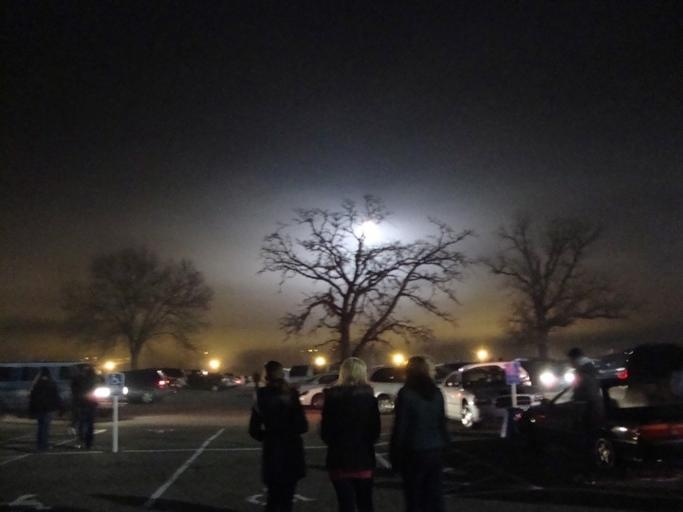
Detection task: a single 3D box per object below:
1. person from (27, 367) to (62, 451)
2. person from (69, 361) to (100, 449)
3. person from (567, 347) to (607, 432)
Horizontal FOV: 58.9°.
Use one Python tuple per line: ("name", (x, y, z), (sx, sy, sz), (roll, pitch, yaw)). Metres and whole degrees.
("person", (-7.273, 3.710, 14.760), (0.652, 1.972, 0.618), (5, -16, -26))
("person", (-6.319, 3.672, 14.809), (0.492, 2.021, 0.778), (8, -18, -35))
("person", (4.342, 2.327, 10.677), (0.486, 1.440, 0.679), (-7, -15, 17))
